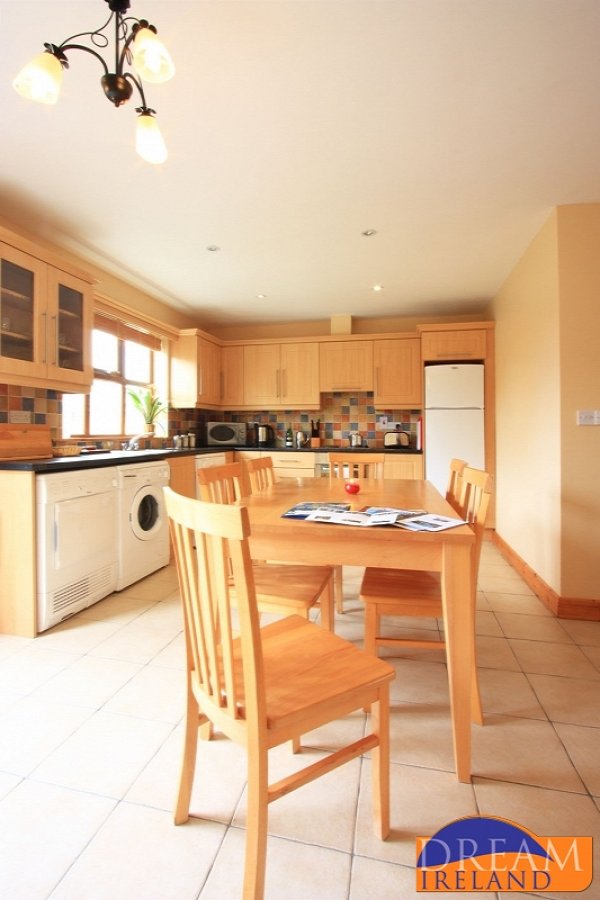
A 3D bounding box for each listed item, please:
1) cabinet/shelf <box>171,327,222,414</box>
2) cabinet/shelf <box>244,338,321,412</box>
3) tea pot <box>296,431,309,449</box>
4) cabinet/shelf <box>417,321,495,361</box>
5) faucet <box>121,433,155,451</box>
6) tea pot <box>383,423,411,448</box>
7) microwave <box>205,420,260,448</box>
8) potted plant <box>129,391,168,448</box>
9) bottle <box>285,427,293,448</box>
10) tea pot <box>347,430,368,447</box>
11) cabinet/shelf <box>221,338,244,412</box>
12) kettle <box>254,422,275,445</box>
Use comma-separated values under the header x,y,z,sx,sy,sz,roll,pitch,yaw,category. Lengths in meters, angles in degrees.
x,y,z,sx,sy,sz,roll,pitch,yaw,category
-0.869,-0.653,5.223,0.281,0.745,0.770,0,0,10,cabinet/shelf
-0.143,-0.675,5.538,0.589,0.557,0.235,0,1,14,cabinet/shelf
0.027,-0.073,5.630,0.098,0.155,0.151,-4,10,-35,tea pot
1.195,-0.836,4.900,0.531,0.286,0.116,2,9,14,cabinet/shelf
-1.113,-0.052,4.381,0.082,0.106,0.279,2,6,12,faucet
0.822,-0.108,5.406,0.214,0.176,0.345,1,9,10,tea pot
-0.584,-0.142,5.663,0.376,0.223,0.516,5,10,32,microwave
-1.112,-0.242,4.703,0.338,0.525,0.338,-1,2,-6,potted plant
-0.102,-0.109,5.754,0.058,0.154,0.213,-2,9,-10,bottle
0.508,-0.087,5.613,0.172,0.127,0.194,0,9,3,tea pot
-0.600,-0.663,5.677,0.193,0.557,0.093,0,9,0,cabinet/shelf
-0.322,-0.148,5.787,0.178,0.337,0.178,1,5,16,kettle
